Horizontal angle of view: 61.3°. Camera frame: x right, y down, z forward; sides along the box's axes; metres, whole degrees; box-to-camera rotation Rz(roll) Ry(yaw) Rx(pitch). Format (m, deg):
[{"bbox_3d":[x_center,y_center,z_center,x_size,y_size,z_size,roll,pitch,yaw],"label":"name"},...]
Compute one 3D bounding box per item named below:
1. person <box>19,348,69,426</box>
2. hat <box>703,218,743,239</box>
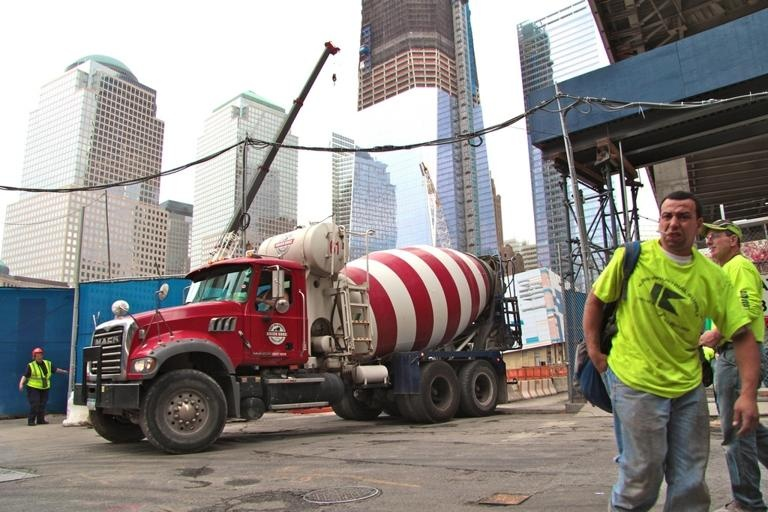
[{"bbox_3d":[-9.342,3.511,17.465,0.741,1.998,1.190,0,-8,-22],"label":"person"},{"bbox_3d":[4.447,-0.422,8.491,0.510,0.259,0.357,3,-24,26],"label":"hat"}]
